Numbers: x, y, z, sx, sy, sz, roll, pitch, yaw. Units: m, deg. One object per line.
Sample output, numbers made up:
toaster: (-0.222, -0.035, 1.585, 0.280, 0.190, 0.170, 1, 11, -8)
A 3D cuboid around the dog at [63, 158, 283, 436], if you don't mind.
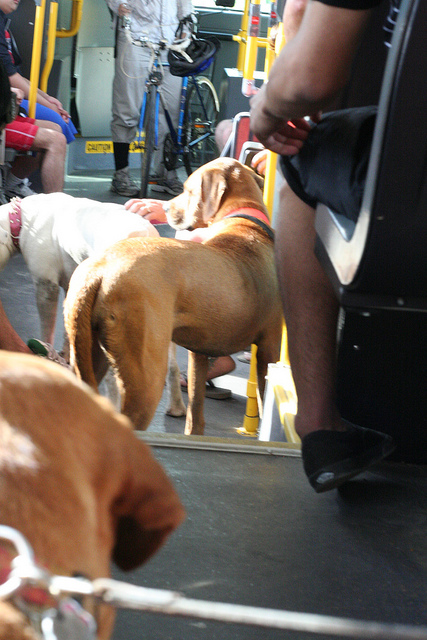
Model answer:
dog: (-0.031, -0.115, 2.684, 1.695, 1.123, 0.758, 9, 33, 5)
